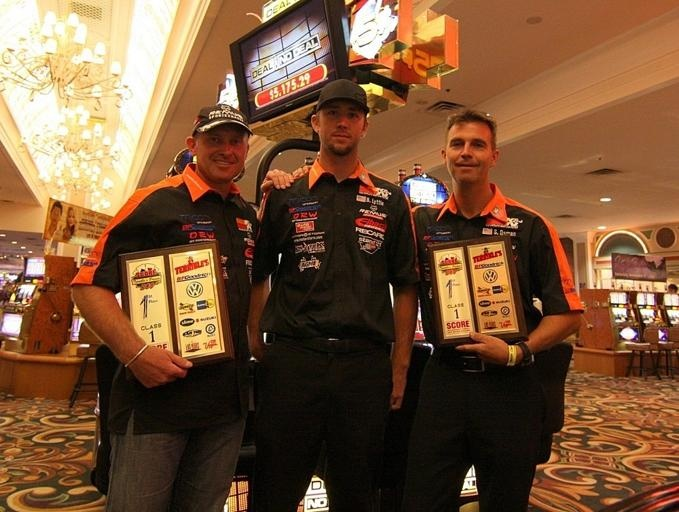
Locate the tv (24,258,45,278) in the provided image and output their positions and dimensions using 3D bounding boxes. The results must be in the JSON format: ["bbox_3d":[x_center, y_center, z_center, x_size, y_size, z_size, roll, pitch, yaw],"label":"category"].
[{"bbox_3d":[-6.284,0.266,9.683,0.474,0.504,0.053,-3,-22,-12],"label":"tv"}]

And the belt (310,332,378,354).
[{"bbox_3d":[0.028,0.380,2.019,0.313,0.072,0.049,3,-5,-15],"label":"belt"}]

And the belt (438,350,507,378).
[{"bbox_3d":[0.567,0.460,2.047,0.305,0.105,0.068,0,-5,19],"label":"belt"}]

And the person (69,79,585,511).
[{"bbox_3d":[0.306,0.171,2.158,1.421,1.859,0.494,3,-5,-9],"label":"person"}]
